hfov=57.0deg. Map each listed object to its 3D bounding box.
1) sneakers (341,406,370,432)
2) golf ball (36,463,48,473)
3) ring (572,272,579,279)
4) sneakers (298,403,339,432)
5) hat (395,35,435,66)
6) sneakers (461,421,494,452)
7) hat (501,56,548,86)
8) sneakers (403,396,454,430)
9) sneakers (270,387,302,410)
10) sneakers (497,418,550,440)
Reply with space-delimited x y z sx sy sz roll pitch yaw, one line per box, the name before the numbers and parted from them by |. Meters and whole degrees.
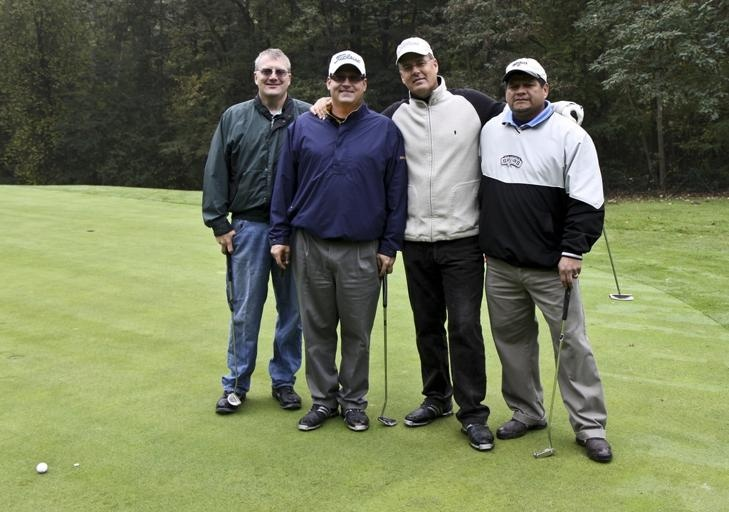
sneakers | -0.055 1.187 4.862 0.095 0.097 0.225 1 -4 -18
golf ball | -2.050 1.342 4.262 0.054 0.031 0.056 16 -6 2
ring | 1.439 0.131 4.557 0.026 0.033 0.078 0 -12 16
sneakers | -0.338 1.172 4.915 0.108 0.129 0.302 -6 -3 35
hat | 0.359 -1.504 4.892 0.246 0.201 0.281 -2 8 0
sneakers | 0.791 1.240 4.654 0.147 0.137 0.233 -4 9 -13
hat | 1.188 -1.373 5.013 0.294 0.251 0.919 0 9 12
sneakers | 0.479 1.156 4.991 0.378 0.154 0.148 -3 -2 -39
sneakers | -0.608 1.096 5.193 0.116 0.105 0.242 -3 4 -32
sneakers | 1.149 1.229 4.766 0.395 0.183 0.137 0 -1 -19
